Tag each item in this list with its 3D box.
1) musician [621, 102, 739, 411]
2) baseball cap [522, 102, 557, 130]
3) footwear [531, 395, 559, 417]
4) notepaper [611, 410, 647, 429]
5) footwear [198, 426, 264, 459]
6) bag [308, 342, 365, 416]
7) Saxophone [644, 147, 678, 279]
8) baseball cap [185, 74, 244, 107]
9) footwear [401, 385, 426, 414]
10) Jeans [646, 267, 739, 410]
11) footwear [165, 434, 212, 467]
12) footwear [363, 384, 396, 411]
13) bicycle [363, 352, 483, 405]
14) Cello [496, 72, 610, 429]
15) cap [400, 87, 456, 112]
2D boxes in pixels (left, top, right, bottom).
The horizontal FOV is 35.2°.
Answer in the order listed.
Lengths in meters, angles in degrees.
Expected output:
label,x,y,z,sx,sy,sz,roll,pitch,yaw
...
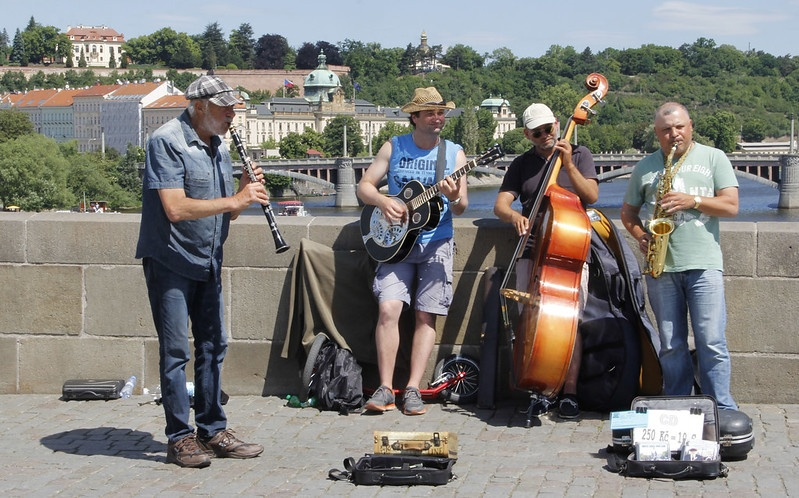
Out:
label,x,y,z,sx,sy,sz,roll,pitch,yaw
musician,2.190,0.032,9.610,0.974,2.298,0.544,3,8,29
baseball cap,1.133,-1.086,10.259,0.213,0.139,0.261,-15,4,1
footwear,1.146,1.243,9.989,0.158,0.080,0.247,-2,-1,13
notepaper,1.681,1.246,9.167,0.230,0.130,0.048,-1,-19,13
footwear,-1.269,1.460,9.408,0.526,0.179,0.183,2,2,3
bag,-0.529,1.071,10.425,0.444,0.506,0.218,15,-32,-21
Saxophone,2.008,-0.292,9.602,0.225,1.019,0.254,1,7,12
baseball cap,-1.468,-1.217,9.448,0.252,0.118,0.338,-3,22,23
footwear,0.124,1.224,10.247,0.186,0.227,0.185,-1,7,0
Jeans,2.244,0.710,9.679,0.660,1.151,0.370,-1,-10,14
footwear,-1.582,1.485,9.348,0.192,0.209,0.505,2,3,-43
footwear,-0.168,1.232,10.220,0.146,0.128,0.318,-5,-10,24
bicycle,0.293,1.084,10.512,0.755,0.398,0.322,1,-40,3
Cello,1.207,-0.004,9.963,0.888,2.726,1.151,0,7,4
cap,0.217,-1.262,10.410,0.298,0.108,0.315,1,-6,-16
